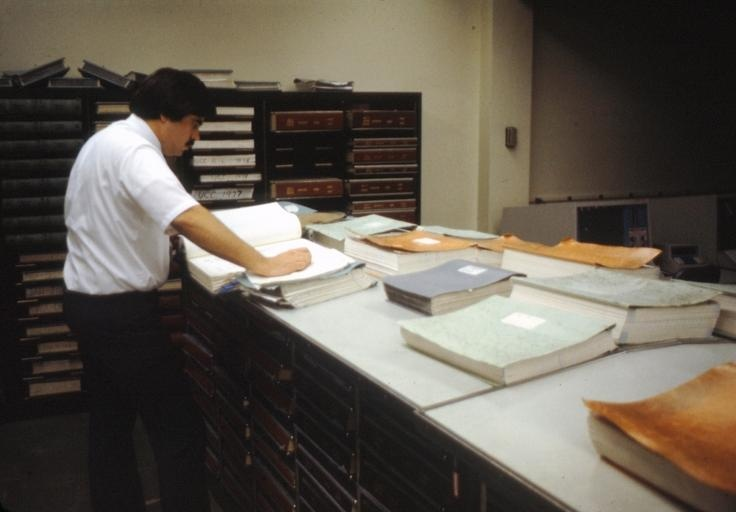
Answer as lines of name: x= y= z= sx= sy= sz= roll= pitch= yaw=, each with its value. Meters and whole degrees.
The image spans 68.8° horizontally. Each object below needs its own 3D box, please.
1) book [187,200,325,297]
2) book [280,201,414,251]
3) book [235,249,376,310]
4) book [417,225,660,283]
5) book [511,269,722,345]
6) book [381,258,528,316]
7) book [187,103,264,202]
book: x=-0.486 y=-0.065 z=2.147 sx=0.372 sy=0.092 sz=0.396 roll=-13 pitch=34 yaw=-29
book: x=-0.027 y=-0.197 z=2.468 sx=0.467 sy=0.078 sz=0.288 roll=-10 pitch=24 yaw=-40
book: x=-0.208 y=0.104 z=1.890 sx=0.247 sy=0.059 sz=0.250 roll=-13 pitch=18 yaw=-37
book: x=0.709 y=0.000 z=1.957 sx=0.475 sy=0.083 sz=0.282 roll=11 pitch=12 yaw=43
book: x=0.749 y=0.136 z=1.602 sx=0.294 sy=0.086 sz=0.291 roll=-5 pitch=14 yaw=-36
book: x=0.284 y=0.092 z=1.781 sx=0.280 sy=0.082 sz=0.235 roll=-12 pitch=18 yaw=-31
book: x=-1.044 y=-0.709 z=3.920 sx=0.616 sy=0.244 sz=0.794 roll=0 pitch=-2 yaw=-8
